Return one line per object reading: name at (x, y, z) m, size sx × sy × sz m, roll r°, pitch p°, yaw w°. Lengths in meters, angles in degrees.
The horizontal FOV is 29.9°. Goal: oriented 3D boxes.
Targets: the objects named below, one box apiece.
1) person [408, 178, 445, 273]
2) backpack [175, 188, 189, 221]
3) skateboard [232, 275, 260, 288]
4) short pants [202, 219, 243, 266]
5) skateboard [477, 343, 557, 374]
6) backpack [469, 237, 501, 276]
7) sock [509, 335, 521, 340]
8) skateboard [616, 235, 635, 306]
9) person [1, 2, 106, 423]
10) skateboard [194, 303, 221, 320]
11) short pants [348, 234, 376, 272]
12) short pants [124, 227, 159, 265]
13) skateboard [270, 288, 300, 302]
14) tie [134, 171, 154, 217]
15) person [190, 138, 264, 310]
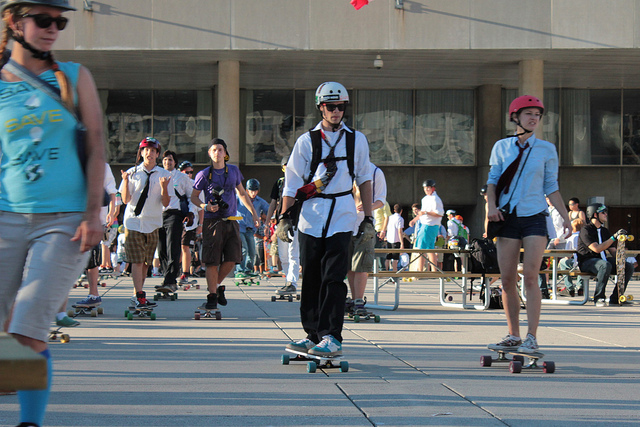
person at (2.437, 0.294, 27.659) m, size 0.805 × 2.164 × 0.997 m, roll 5°, pitch 10°, yaw 25°
backpack at (-2.493, -0.168, 21.525) m, size 0.220 × 0.530 × 0.333 m, roll -1°, pitch 5°, yaw -14°
skateboard at (-1.611, 1.462, 25.744) m, size 0.391 × 0.142 × 0.277 m, roll -5°, pitch -1°, yaw 21°
short pants at (-1.656, 0.472, 19.863) m, size 0.727 × 0.810 × 0.465 m, roll 3°, pitch -9°, yaw -30°
skateboard at (2.800, 2.073, 16.989) m, size 0.479 × 0.237 × 0.805 m, roll 2°, pitch -4°, yaw -26°
backpack at (2.816, 0.652, 20.991) m, size 0.381 × 0.691 × 0.587 m, roll 2°, pitch 16°, yaw 33°
sock at (2.772, 1.777, 17.151) m, size 0.143 × 0.059 × 0.048 m, roll 12°, pitch 24°, yaw 1°
skateboard at (5.588, 1.058, 22.387) m, size 0.188 × 1.246 × 0.460 m, roll -3°, pitch 1°, yaw 24°
person at (-3.299, -0.435, 14.715) m, size 1.222 × 4.337 × 0.674 m, roll 0°, pitch 5°, yaw -10°
skateboard at (-1.865, 1.618, 19.747) m, size 0.431 × 0.209 × 0.366 m, roll 0°, pitch 5°, yaw -6°
short pants at (0.676, 0.672, 19.882) m, size 0.370 × 0.636 × 0.447 m, roll 1°, pitch 5°, yaw 3°
short pants at (-2.979, 0.514, 19.855) m, size 0.576 × 0.760 × 0.422 m, roll 7°, pitch -16°, yaw -27°
skateboard at (-0.660, 1.513, 22.133) m, size 0.430 × 0.204 × 0.228 m, roll 2°, pitch -6°, yaw -8°
tie at (-2.948, -0.309, 19.971) m, size 0.257 × 0.782 × 0.055 m, roll 14°, pitch -35°, yaw -6°
person at (-1.639, 0.155, 20.057) m, size 0.975 × 2.815 × 0.636 m, roll -2°, pitch 5°, yaw -25°
